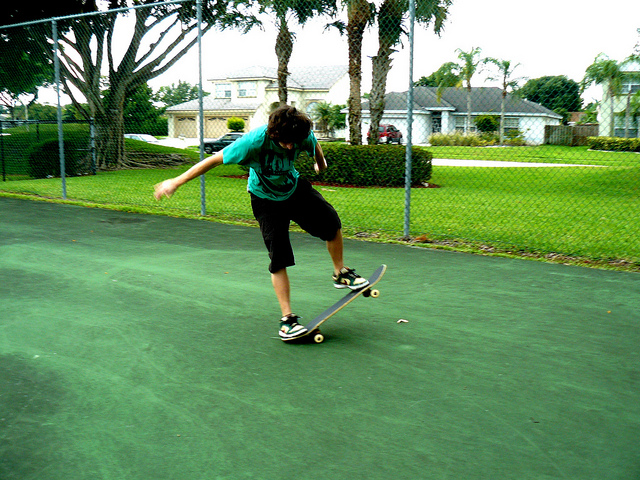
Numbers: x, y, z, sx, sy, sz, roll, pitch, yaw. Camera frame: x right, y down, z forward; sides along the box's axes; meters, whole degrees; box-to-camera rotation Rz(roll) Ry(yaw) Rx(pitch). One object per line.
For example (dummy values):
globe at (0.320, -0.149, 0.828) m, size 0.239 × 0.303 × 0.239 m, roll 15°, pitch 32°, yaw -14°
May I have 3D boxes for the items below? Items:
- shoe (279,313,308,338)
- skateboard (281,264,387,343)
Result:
shoe at (-0.207, 0.690, 4.636) m, size 0.150 × 0.172 × 0.202 m, roll -3°, pitch 9°, yaw -31°
skateboard at (0.139, 0.590, 5.187) m, size 1.200 × 0.159 × 0.259 m, roll -25°, pitch 8°, yaw -15°
